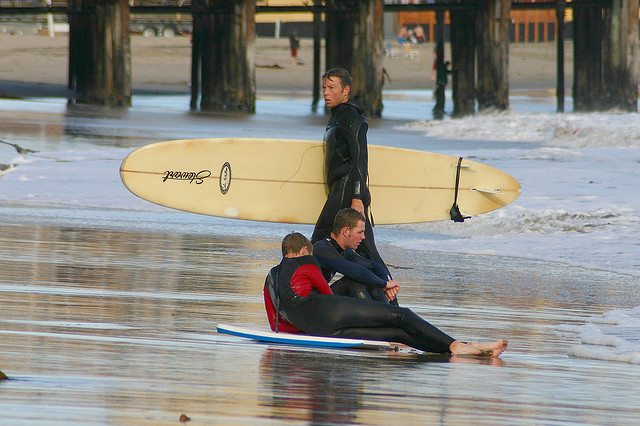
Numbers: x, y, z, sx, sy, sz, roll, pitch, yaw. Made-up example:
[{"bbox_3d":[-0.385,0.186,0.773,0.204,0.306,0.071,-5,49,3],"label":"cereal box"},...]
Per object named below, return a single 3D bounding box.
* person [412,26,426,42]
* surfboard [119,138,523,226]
[{"bbox_3d":[4.263,-7.464,68.988,0.505,0.561,1.309,-14,6,-1],"label":"person"},{"bbox_3d":[-0.658,-0.909,31.811,7.282,0.736,1.476,1,46,-6],"label":"surfboard"}]
